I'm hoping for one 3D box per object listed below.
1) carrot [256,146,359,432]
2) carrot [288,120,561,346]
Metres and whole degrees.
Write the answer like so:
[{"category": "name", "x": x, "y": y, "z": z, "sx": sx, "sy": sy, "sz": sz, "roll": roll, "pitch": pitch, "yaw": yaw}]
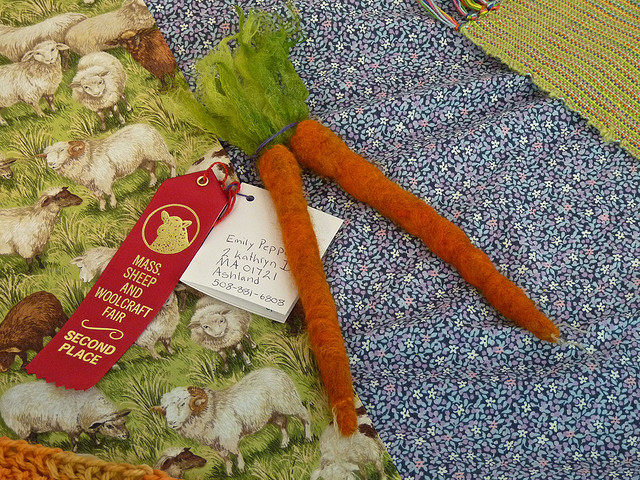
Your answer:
[{"category": "carrot", "x": -0.049, "y": -0.014, "z": 1.039, "sx": 0.072, "sy": 0.580, "sz": 0.067, "roll": -6, "pitch": -22, "yaw": -22}, {"category": "carrot", "x": 0.168, "y": -0.011, "z": 1.037, "sx": 0.518, "sy": 0.063, "sz": 0.070, "roll": 37, "pitch": 22, "yaw": -4}]
